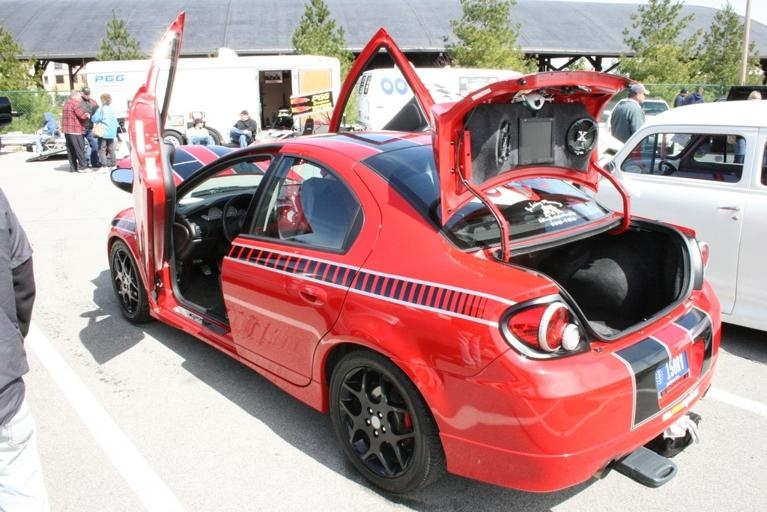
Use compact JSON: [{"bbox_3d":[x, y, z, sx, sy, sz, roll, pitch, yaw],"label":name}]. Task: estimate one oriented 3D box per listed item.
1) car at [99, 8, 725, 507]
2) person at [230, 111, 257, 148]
[{"bbox_3d":[-0.097,-0.190,4.661,3.201,2.912,5.334,-16,28,-42],"label":"car"},{"bbox_3d":[-4.756,-4.162,17.497,0.824,1.661,0.918,-2,7,-5],"label":"person"}]
